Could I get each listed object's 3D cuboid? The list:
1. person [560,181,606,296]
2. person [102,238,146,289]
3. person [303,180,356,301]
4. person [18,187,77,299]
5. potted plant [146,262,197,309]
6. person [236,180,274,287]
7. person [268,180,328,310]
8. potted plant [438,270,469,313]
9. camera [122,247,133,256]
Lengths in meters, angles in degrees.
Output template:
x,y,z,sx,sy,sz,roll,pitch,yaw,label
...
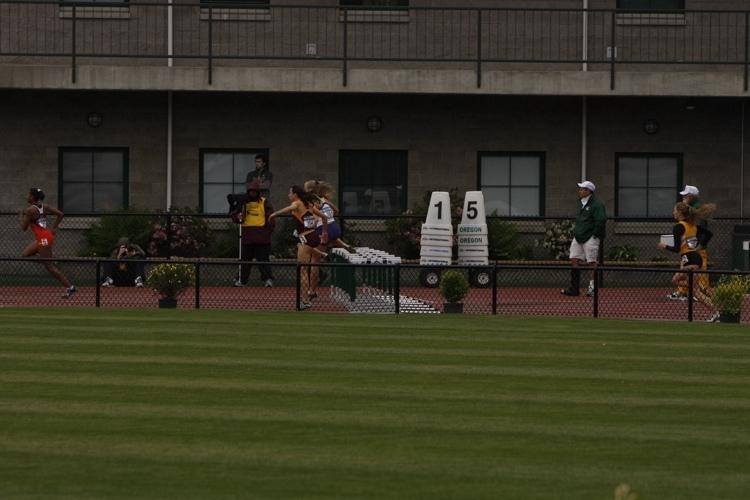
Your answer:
x,y,z,sx,sy,sz,roll,pitch,yaw,label
4.271,-0.280,36.138,0.785,2.582,0.932,-1,-1,8,person
-4.858,0.208,33.471,0.813,0.908,1.047,-3,16,-11,person
-1.117,-0.180,35.401,0.932,2.369,0.934,-3,-4,17,person
-6.755,-0.076,35.542,1.143,2.282,0.596,-6,-5,15,person
-3.878,0.709,33.030,0.781,0.958,0.975,3,2,38,potted plant
-2.507,-0.335,35.893,0.972,2.150,0.817,1,1,18,person
-1.498,-0.095,34.484,1.336,2.247,0.867,-1,-8,-34,person
1.557,0.906,33.420,0.592,0.752,0.636,1,3,38,potted plant
-5.228,0.075,36.665,0.070,0.270,0.265,-14,-21,9,camera
